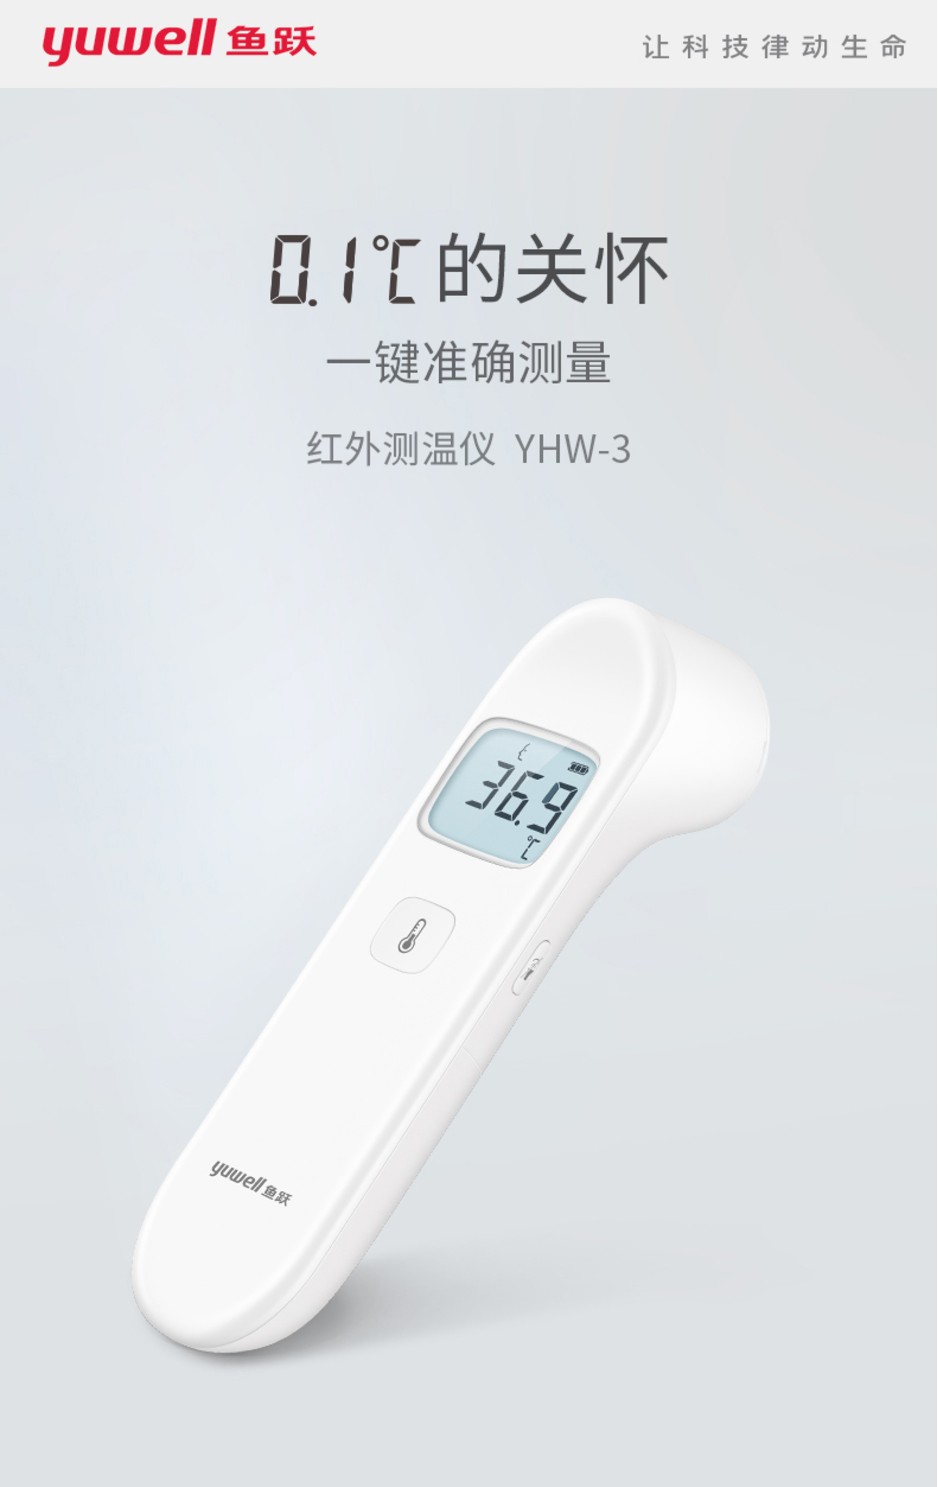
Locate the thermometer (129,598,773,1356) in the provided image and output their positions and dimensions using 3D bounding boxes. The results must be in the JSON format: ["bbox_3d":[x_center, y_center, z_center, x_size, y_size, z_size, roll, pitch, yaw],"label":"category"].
[{"bbox_3d":[0.005,0.302,2.130,1.271,0.458,0.328,-54,-42,-16],"label":"thermometer"}]
